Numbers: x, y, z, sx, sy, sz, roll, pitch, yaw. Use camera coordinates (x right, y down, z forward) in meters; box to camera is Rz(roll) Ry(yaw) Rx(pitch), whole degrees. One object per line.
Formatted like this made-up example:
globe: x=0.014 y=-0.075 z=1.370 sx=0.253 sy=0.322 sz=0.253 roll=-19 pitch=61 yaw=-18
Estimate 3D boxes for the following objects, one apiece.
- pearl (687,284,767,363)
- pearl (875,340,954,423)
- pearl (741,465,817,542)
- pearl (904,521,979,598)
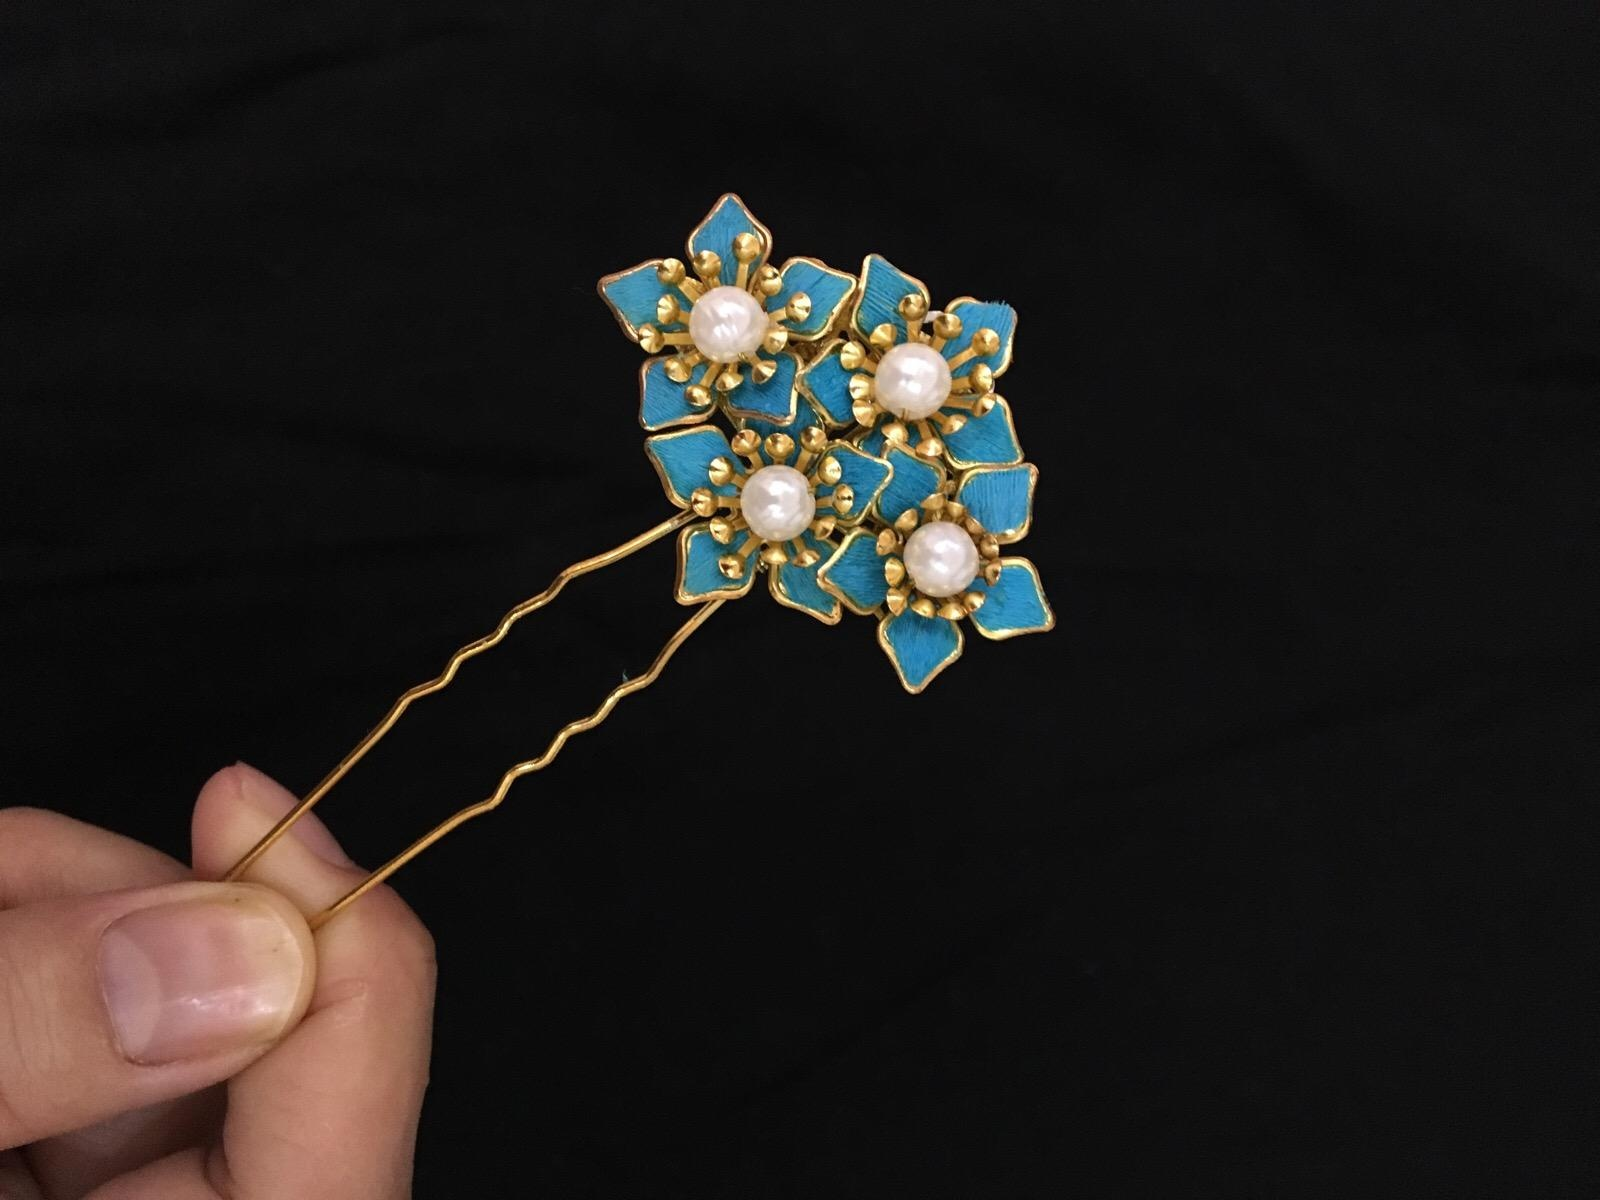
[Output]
pearl: x=-0.114 y=-0.442 z=3.183 sx=0.124 sy=0.077 sz=0.101 roll=26 pitch=67 yaw=-2
pearl: x=0.180 y=-0.351 z=3.182 sx=0.113 sy=0.064 sz=0.121 roll=7 pitch=93 yaw=-1
pearl: x=-0.029 y=-0.160 z=3.203 sx=0.120 sy=0.080 sz=0.112 roll=-16 pitch=74 yaw=-17
pearl: x=0.229 y=-0.068 z=3.231 sx=0.112 sy=0.063 sz=0.118 roll=-11 pitch=93 yaw=-6
